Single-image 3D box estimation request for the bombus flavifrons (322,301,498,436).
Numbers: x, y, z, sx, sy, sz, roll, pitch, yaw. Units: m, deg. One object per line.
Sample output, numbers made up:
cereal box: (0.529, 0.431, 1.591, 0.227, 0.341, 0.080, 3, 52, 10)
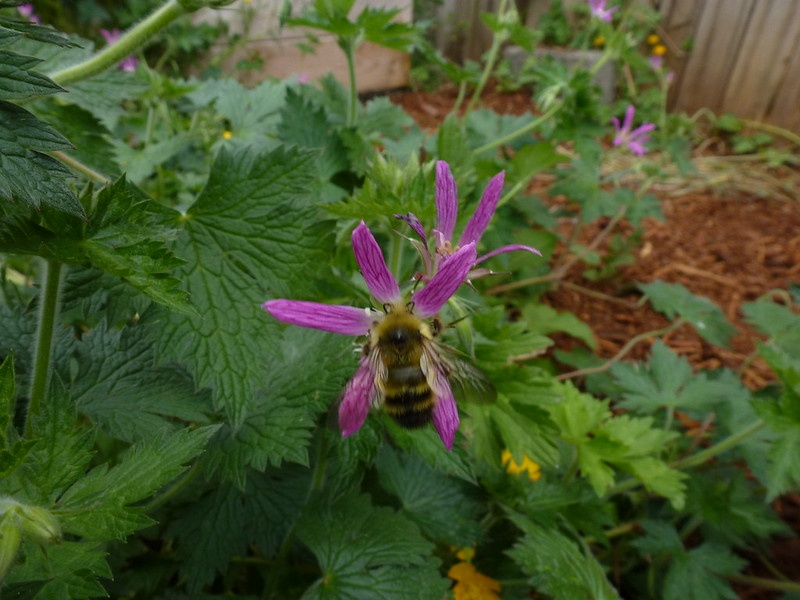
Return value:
bombus flavifrons: (0.026, 0.106, 1.174, 0.181, 0.086, 0.250, -6, 38, -8)
